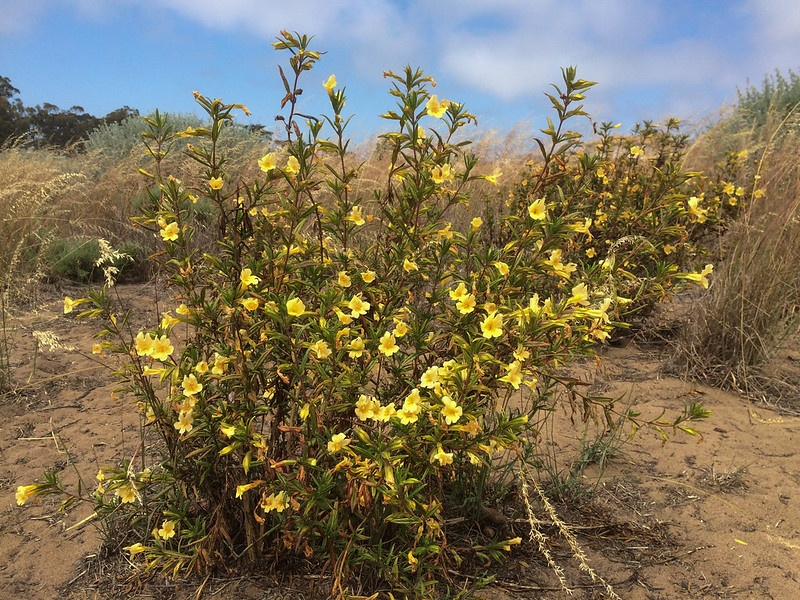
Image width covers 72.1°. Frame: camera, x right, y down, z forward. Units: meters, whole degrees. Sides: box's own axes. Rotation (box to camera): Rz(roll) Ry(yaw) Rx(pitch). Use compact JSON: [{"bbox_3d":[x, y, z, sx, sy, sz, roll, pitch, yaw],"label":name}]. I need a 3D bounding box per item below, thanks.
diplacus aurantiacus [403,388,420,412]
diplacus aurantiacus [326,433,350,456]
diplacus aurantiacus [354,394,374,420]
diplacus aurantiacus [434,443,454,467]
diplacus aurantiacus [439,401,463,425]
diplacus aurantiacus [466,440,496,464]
[{"bbox_3d":[0.056,0.472,2.559,0.081,0.130,0.086,0,12,0],"label":"diplacus aurantiacus"},{"bbox_3d":[-0.289,0.684,2.575,0.101,0.142,0.115,0,12,-3],"label":"diplacus aurantiacus"},{"bbox_3d":[-0.162,0.494,2.562,0.083,0.136,0.118,-1,12,-6],"label":"diplacus aurantiacus"},{"bbox_3d":[0.201,0.715,2.579,0.084,0.103,0.135,1,12,4],"label":"diplacus aurantiacus"},{"bbox_3d":[0.229,0.501,2.484,0.092,0.126,0.069,6,13,27],"label":"diplacus aurantiacus"},{"bbox_3d":[0.361,0.738,2.601,0.098,0.097,0.170,11,-32,-28],"label":"diplacus aurantiacus"}]
